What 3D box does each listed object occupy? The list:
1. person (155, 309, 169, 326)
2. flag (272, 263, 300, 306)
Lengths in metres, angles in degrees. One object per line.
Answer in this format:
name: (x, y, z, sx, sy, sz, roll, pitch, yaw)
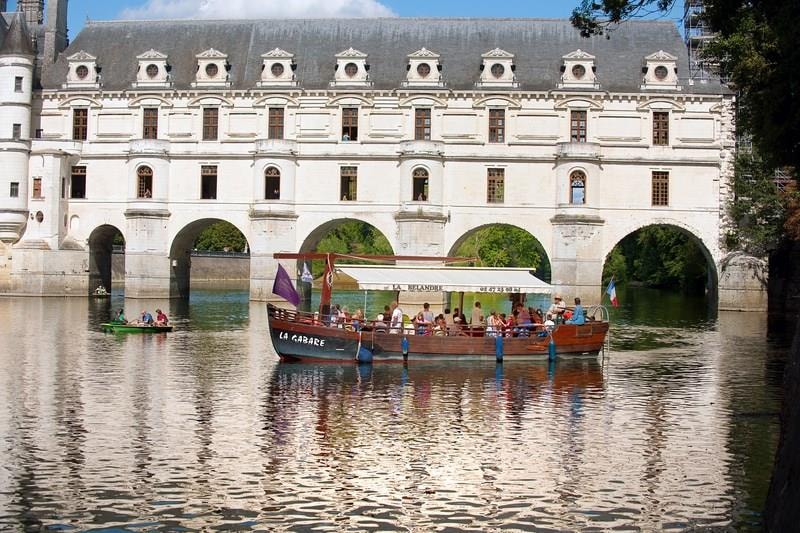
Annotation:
person: (-13.070, 2.869, 86.333, 0.784, 0.905, 0.608, -8, -14, 16)
flag: (-6.332, 0.878, 88.313, 0.356, 2.408, 2.291, -25, -42, 36)
